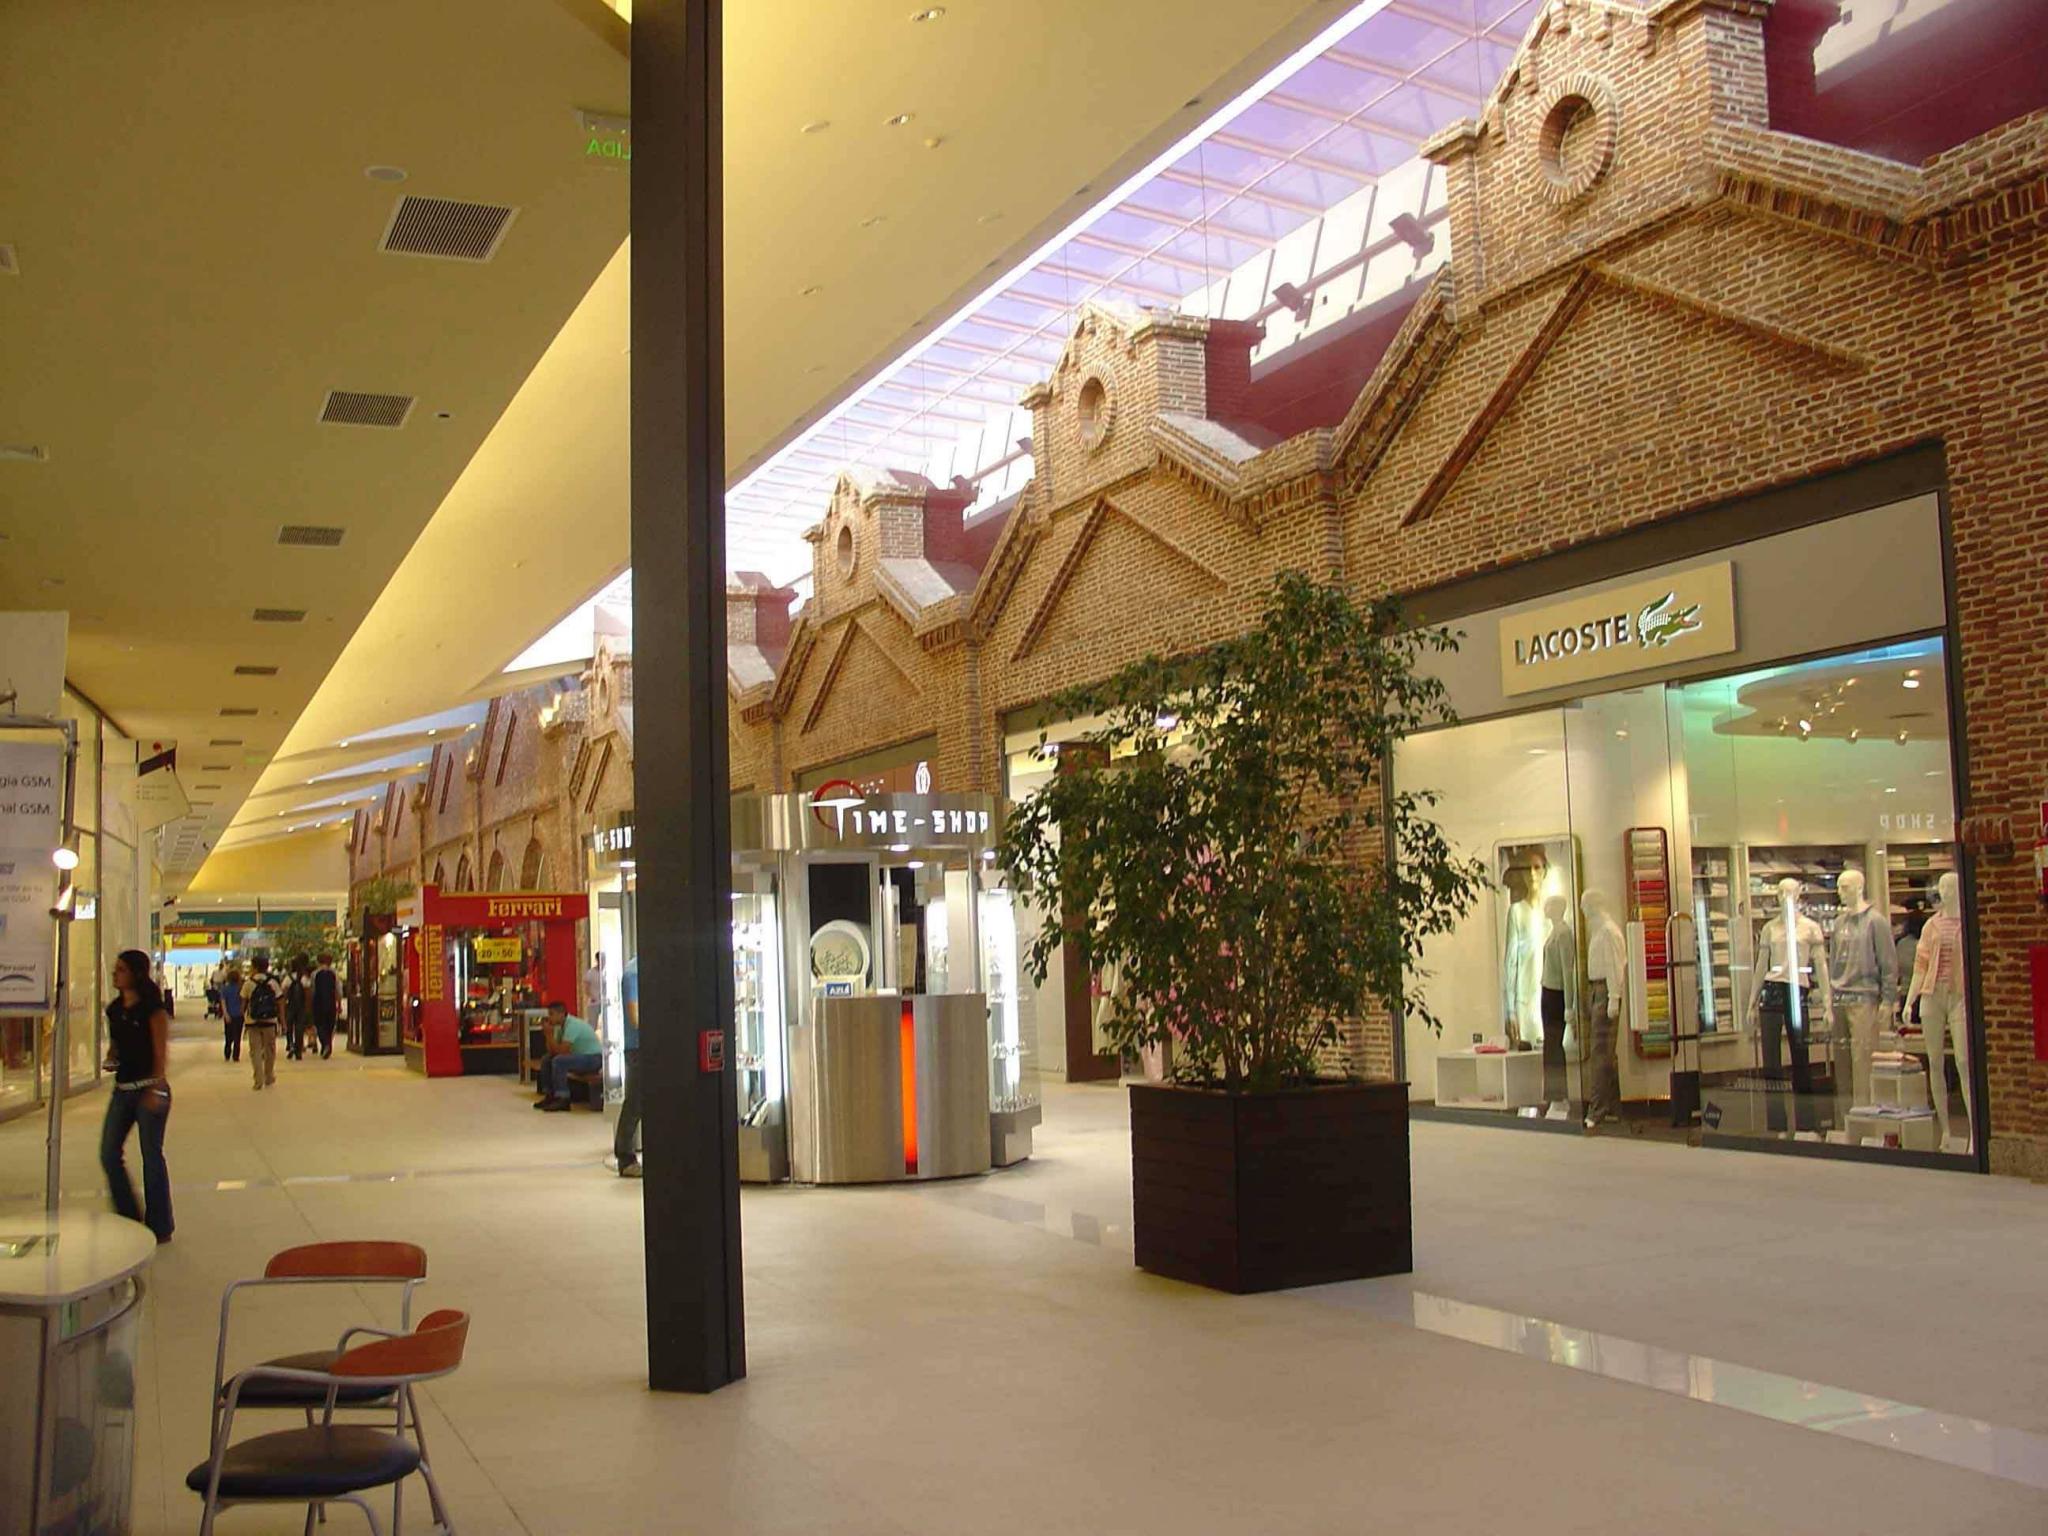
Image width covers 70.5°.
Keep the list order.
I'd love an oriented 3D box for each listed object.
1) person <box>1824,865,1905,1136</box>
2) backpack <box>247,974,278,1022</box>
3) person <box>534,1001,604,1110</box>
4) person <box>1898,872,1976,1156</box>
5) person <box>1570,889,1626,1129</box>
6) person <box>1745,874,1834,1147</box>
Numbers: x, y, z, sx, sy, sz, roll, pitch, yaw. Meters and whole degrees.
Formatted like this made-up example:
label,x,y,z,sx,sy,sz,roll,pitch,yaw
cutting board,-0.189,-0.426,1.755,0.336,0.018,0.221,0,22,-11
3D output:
label,x,y,z,sx,sy,sz,roll,pitch,yaw
person,6.391,1.693,11.034,0.470,1.934,0.209,-7,-10,41
backpack,-11.560,3.461,22.025,0.337,0.706,0.793,4,-10,-31
person,-6.193,3.946,19.711,0.766,1.205,2.936,2,-9,-19
person,6.670,1.699,10.624,0.411,1.904,0.183,-6,-10,37
person,5.255,2.153,13.232,0.435,2.061,0.177,-3,-8,20
person,6.045,1.853,11.436,0.201,1.998,0.545,5,-10,-37
